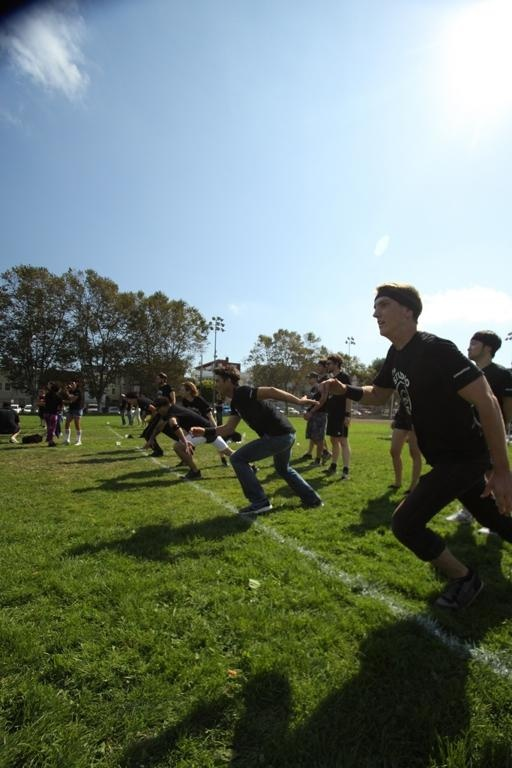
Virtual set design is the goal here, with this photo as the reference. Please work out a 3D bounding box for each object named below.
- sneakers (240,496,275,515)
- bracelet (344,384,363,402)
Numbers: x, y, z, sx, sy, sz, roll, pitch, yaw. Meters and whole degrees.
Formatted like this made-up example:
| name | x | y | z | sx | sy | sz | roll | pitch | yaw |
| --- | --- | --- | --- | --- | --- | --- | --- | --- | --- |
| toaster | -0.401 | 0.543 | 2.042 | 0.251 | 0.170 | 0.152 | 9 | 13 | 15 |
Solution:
| name | x | y | z | sx | sy | sz | roll | pitch | yaw |
| --- | --- | --- | --- | --- | --- | --- | --- | --- | --- |
| sneakers | 0.025 | 1.240 | 5.215 | 0.335 | 0.150 | 0.125 | -2 | -31 | -20 |
| bracelet | 0.785 | 0.068 | 4.187 | 0.081 | 0.097 | 0.318 | 30 | 10 | -6 |
